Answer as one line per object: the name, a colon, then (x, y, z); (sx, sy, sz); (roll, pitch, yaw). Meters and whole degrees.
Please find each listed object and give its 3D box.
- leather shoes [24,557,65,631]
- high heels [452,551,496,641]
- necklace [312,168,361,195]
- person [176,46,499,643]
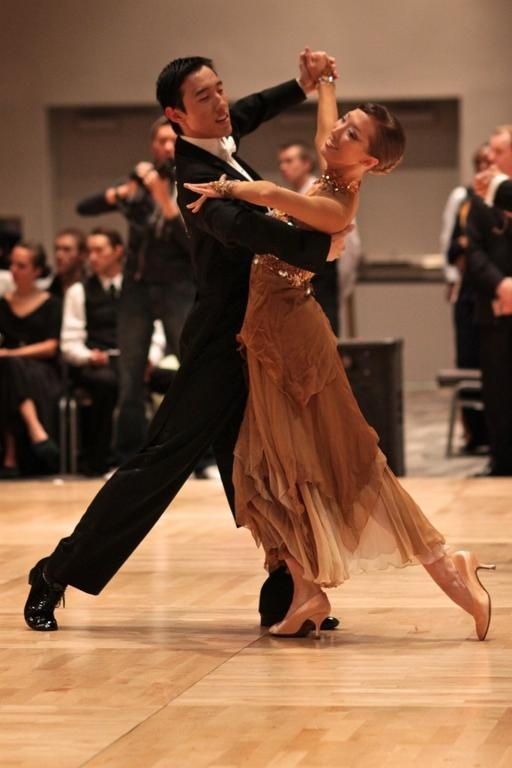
leather shoes: (-0.453, 0.462, 1.733); (0.071, 0.180, 0.089); (10, -29, -32)
high heels: (0.425, 0.411, 1.613); (0.087, 0.181, 0.063); (-8, -11, 6)
necklace: (0.158, -0.401, 1.584); (0.066, 0.018, 0.058); (-6, 42, -14)
person: (0.150, -0.056, 1.576); (0.473, 1.156, 0.426); (-3, 4, -38)
